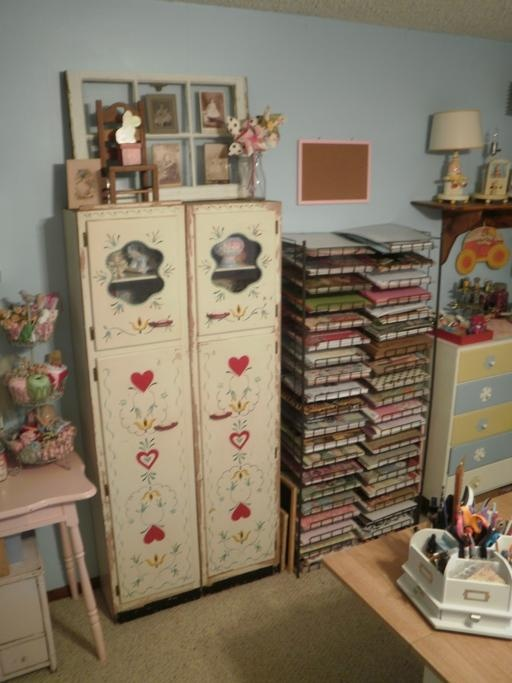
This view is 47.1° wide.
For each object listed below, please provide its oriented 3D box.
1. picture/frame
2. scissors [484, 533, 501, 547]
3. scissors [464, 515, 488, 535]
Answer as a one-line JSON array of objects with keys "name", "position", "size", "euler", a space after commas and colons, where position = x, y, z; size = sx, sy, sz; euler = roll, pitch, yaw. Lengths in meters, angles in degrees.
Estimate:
[{"name": "picture/frame", "position": [0.371, -0.783, 2.730], "size": [0.034, 0.297, 0.447], "euler": [-17, 23, -39]}, {"name": "scissors", "position": [0.640, 0.539, 1.587], "size": [0.027, 0.041, 0.017], "euler": [21, -2, -21]}, {"name": "scissors", "position": [0.607, 0.508, 1.626], "size": [0.064, 0.048, 0.022], "euler": [-30, 9, -6]}]
